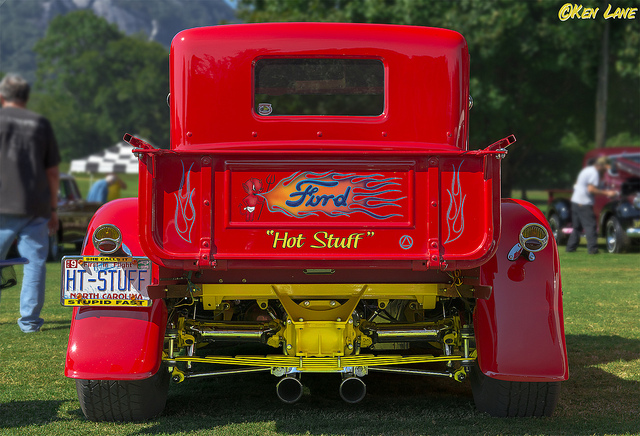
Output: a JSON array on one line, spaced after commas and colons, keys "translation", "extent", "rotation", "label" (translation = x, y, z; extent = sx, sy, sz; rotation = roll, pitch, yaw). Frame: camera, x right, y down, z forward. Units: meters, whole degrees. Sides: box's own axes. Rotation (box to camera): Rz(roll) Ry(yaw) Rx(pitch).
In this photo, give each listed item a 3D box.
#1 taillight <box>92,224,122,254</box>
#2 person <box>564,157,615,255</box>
[{"translation": [-2.178, 0.223, 10.594], "extent": [0.301, 0.306, 0.064], "rotation": [10, -3, 2], "label": "taillight"}, {"translation": [5.280, -0.170, 20.340], "extent": [0.794, 1.972, 1.062], "rotation": [4, 15, 14], "label": "person"}]
